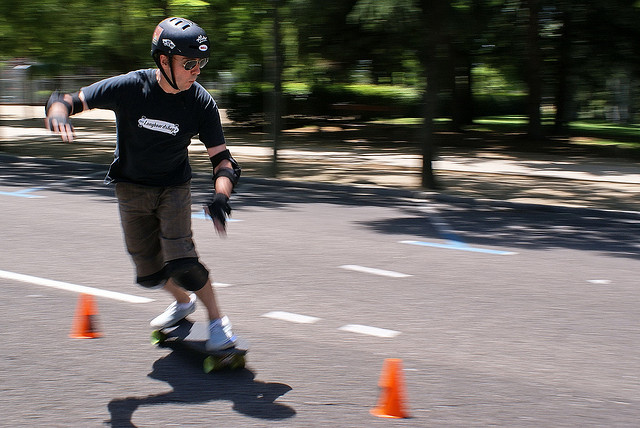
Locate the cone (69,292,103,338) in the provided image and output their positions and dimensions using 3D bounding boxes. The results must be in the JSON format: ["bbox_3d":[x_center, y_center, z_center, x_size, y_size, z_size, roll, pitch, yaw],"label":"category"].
[{"bbox_3d":[-1.862,0.778,4.287,0.239,0.294,0.422,-3,15,-22],"label":"cone"}]

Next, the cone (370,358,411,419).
[{"bbox_3d":[0.413,0.991,3.255,0.227,0.333,0.401,2,14,-7],"label":"cone"}]

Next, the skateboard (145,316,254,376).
[{"bbox_3d":[-0.988,0.978,4.089,0.311,0.145,1.143,-13,7,-32],"label":"skateboard"}]

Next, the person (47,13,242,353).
[{"bbox_3d":[-1.080,-0.148,3.554,1.151,2.208,0.573,3,19,-6],"label":"person"}]

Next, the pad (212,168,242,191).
[{"bbox_3d":[-0.634,-0.252,3.709,0.180,0.090,0.151,0,32,9],"label":"pad"}]
